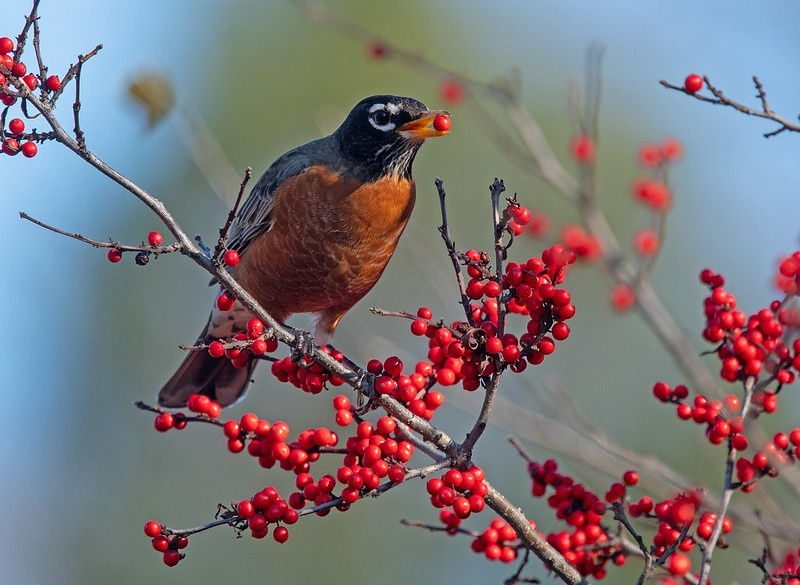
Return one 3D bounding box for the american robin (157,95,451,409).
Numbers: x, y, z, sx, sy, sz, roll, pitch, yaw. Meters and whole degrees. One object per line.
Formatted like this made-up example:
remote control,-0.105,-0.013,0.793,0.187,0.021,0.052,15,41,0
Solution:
american robin,-0.398,-0.211,5.261,1.440,1.171,0.606,-28,-28,24
